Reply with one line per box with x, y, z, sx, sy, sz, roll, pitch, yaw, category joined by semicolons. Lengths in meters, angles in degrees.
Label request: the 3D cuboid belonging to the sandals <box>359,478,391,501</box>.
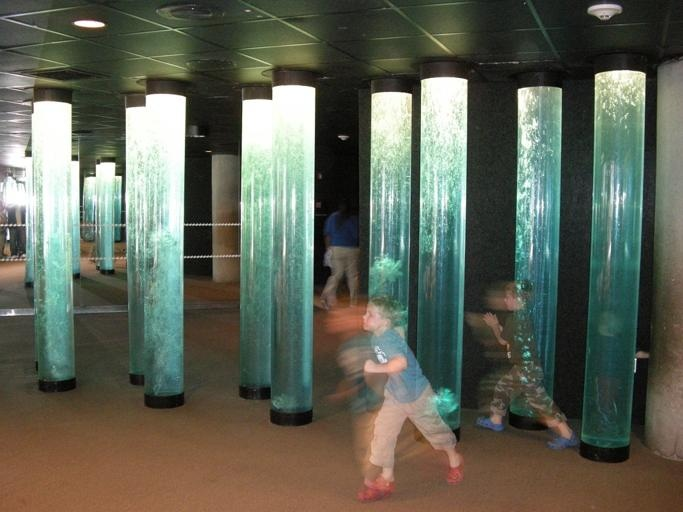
0.245;1.897;4.651;0.278;0.106;0.141;2;-6;-17;sandals

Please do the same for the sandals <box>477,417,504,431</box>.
1.623;1.813;6.234;0.233;0.079;0.124;7;5;33;sandals

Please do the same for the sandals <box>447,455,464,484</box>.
0.970;1.833;4.890;0.118;0.221;0.091;-1;-3;42;sandals

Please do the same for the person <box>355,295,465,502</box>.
0.587;1.137;4.841;0.802;1.640;1.078;1;6;7;person

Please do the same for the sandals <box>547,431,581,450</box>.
2.219;1.864;5.742;0.261;0.087;0.146;0;-9;-16;sandals
